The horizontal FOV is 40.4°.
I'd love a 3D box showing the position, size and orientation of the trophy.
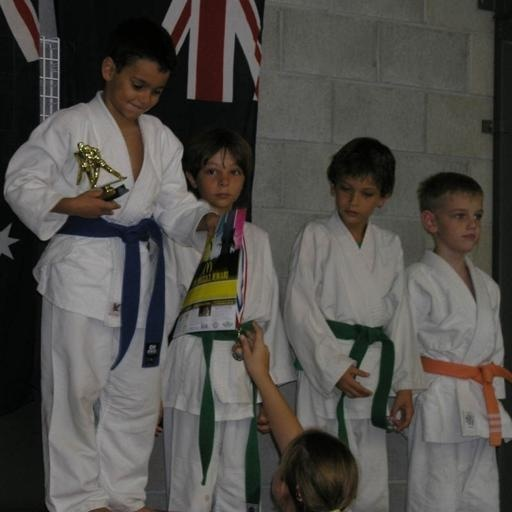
[{"bbox_3d":[-0.542,-0.291,2.402,0.141,0.209,0.101,-11,3,-5],"label":"trophy"}]
